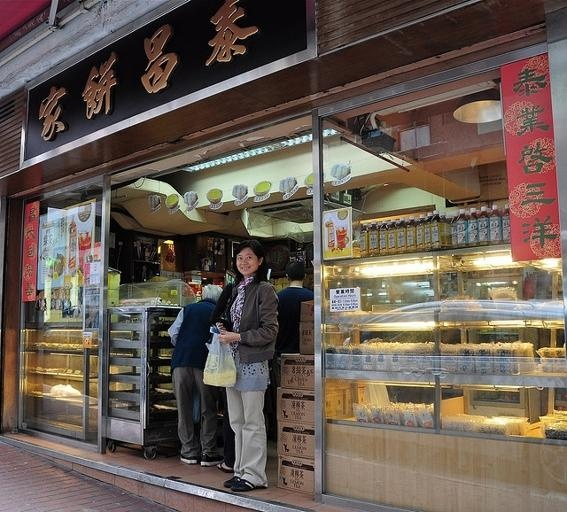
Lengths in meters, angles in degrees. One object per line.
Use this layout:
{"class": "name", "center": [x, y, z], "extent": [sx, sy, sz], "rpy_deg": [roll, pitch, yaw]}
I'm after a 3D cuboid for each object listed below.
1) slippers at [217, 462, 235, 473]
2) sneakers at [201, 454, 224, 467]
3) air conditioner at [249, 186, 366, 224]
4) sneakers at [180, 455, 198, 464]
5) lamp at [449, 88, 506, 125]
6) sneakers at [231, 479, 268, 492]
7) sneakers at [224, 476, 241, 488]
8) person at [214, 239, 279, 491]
{"class": "slippers", "center": [-0.458, 1.658, 4.163], "extent": [0.074, 0.053, 0.154], "rpy_deg": [10, -4, -34]}
{"class": "sneakers", "center": [-0.599, 1.679, 4.381], "extent": [0.223, 0.077, 0.076], "rpy_deg": [5, -7, -45]}
{"class": "air conditioner", "center": [0.189, -0.491, 4.959], "extent": [0.585, 0.133, 0.677], "rpy_deg": [7, -9, -42]}
{"class": "sneakers", "center": [-0.804, 1.723, 4.492], "extent": [0.145, 0.062, 0.159], "rpy_deg": [1, -7, -6]}
{"class": "lamp", "center": [1.123, -0.849, 3.005], "extent": [0.229, 0.072, 0.200], "rpy_deg": [1, -1, -11]}
{"class": "sneakers", "center": [-0.239, 1.536, 3.551], "extent": [0.245, 0.070, 0.079], "rpy_deg": [10, -24, -15]}
{"class": "sneakers", "center": [-0.357, 1.557, 3.648], "extent": [0.058, 0.054, 0.148], "rpy_deg": [27, -14, -10]}
{"class": "person", "center": [-0.282, 0.740, 3.792], "extent": [0.437, 1.733, 0.494], "rpy_deg": [1, -9, -6]}
